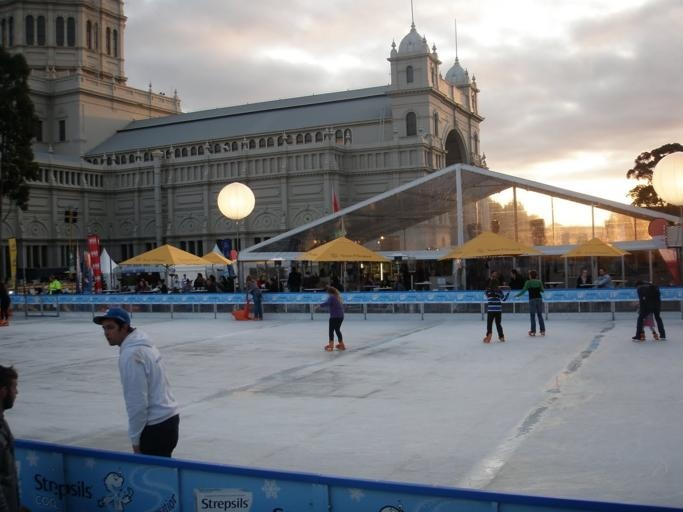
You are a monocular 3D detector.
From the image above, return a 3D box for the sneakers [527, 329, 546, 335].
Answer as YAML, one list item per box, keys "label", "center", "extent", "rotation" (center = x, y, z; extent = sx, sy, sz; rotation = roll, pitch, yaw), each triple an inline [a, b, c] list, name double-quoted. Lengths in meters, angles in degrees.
- label: "sneakers"
  center: [5.960, 2.307, 28.252]
  extent: [0.462, 0.202, 0.190]
  rotation: [-3, 0, -11]

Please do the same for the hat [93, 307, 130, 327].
- label: "hat"
  center: [-3.643, 0.968, 14.749]
  extent: [0.486, 0.258, 0.337]
  rotation: [4, -8, -9]

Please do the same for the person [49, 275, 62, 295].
- label: "person"
  center: [-14.397, 1.473, 46.614]
  extent: [0.589, 0.828, 0.910]
  rotation: [4, -6, -35]
